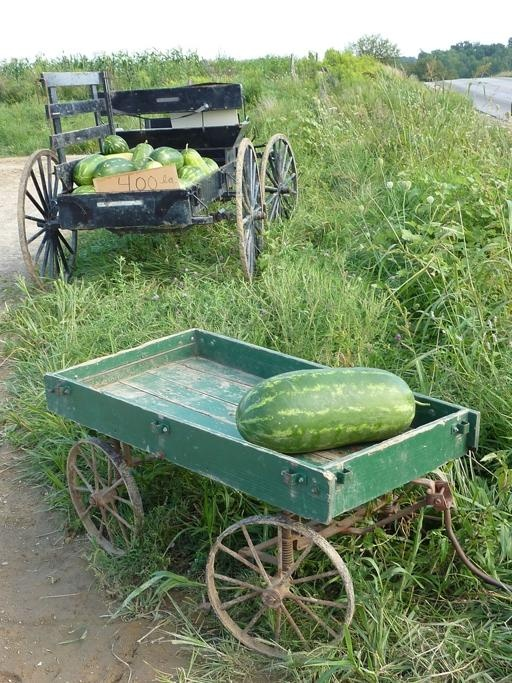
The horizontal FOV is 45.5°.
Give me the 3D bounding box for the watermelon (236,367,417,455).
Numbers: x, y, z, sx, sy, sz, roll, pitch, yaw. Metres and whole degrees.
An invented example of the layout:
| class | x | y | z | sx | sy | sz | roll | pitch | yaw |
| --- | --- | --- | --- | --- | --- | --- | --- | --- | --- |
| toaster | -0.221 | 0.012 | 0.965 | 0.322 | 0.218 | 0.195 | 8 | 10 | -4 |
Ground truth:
| class | x | y | z | sx | sy | sz | roll | pitch | yaw |
| --- | --- | --- | --- | --- | --- | --- | --- | --- | --- |
| watermelon | 0.249 | 0.236 | 2.183 | 0.675 | 0.301 | 0.311 | -2 | 17 | -24 |
